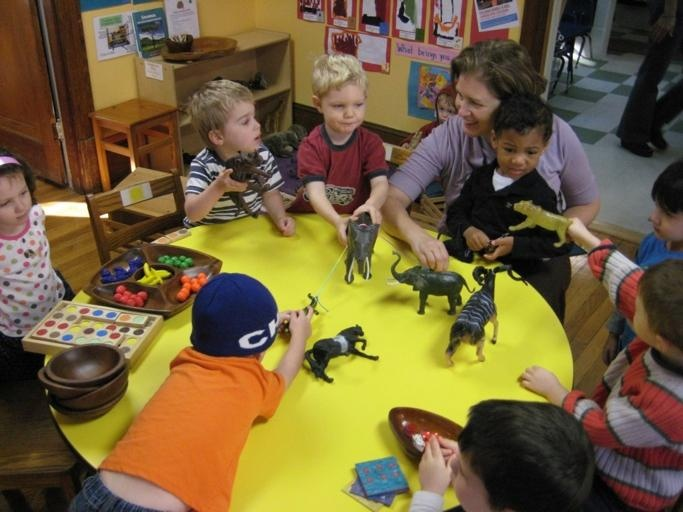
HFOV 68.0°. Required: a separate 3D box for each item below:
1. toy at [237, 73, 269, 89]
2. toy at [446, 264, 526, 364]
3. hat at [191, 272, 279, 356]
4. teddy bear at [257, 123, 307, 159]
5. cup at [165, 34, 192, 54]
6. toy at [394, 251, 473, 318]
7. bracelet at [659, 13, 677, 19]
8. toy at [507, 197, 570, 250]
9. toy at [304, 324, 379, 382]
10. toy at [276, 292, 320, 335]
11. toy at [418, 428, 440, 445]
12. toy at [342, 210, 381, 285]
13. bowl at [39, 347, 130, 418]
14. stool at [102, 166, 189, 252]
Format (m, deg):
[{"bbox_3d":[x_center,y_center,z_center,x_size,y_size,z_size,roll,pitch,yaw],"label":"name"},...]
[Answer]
[{"bbox_3d":[-0.784,-1.545,4.508,0.264,0.090,0.157,11,34,16],"label":"toy"},{"bbox_3d":[0.501,0.165,1.630,0.146,0.238,0.421,12,42,35],"label":"toy"},{"bbox_3d":[-0.274,0.163,1.376,0.202,0.168,0.217,15,35,11],"label":"hat"},{"bbox_3d":[-0.430,-0.870,3.908,0.265,0.116,0.326,-13,29,-7],"label":"teddy bear"},{"bbox_3d":[-1.212,-1.598,3.778,0.193,0.116,0.204,1,30,-1],"label":"cup"},{"bbox_3d":[0.317,0.068,1.783,0.289,0.212,0.137,8,48,12],"label":"toy"},{"bbox_3d":[1.844,-1.364,2.865,0.079,0.025,0.021,19,34,27],"label":"bracelet"},{"bbox_3d":[0.718,-0.118,1.876,0.192,0.103,0.070,31,62,21],"label":"toy"},{"bbox_3d":[0.006,0.288,1.531,0.226,0.085,0.119,-15,34,-27],"label":"toy"},{"bbox_3d":[-0.134,0.183,1.661,0.067,0.070,0.166,6,24,30],"label":"toy"},{"bbox_3d":[0.219,0.466,1.309,0.033,0.012,0.024,-8,29,-18],"label":"toy"},{"bbox_3d":[0.064,-0.034,1.825,0.095,0.198,0.284,4,37,1],"label":"toy"},{"bbox_3d":[-0.678,0.379,1.406,0.207,0.124,0.192,2,30,-1],"label":"bowl"},{"bbox_3d":[-1.000,-0.234,2.588,0.311,0.571,0.369,-27,72,-24],"label":"stool"}]
